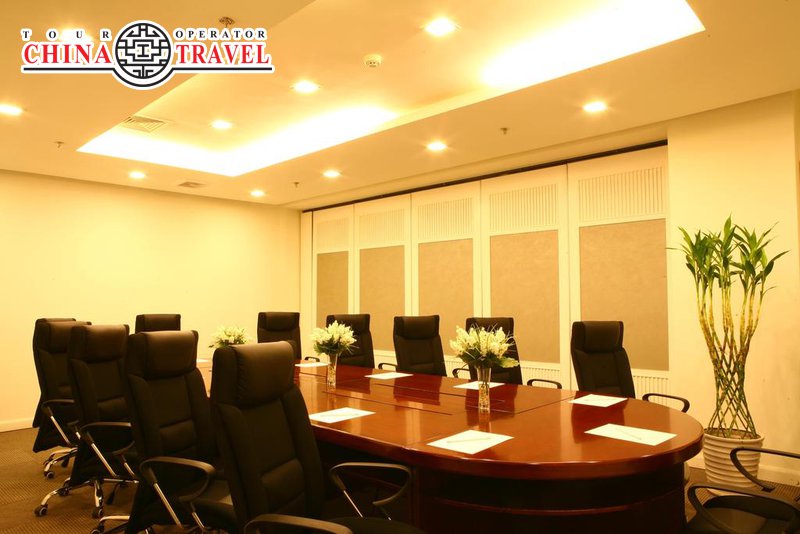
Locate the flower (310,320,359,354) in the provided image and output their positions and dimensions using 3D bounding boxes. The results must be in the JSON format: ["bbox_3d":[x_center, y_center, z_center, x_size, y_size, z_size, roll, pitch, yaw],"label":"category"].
[{"bbox_3d":[-0.695,0.683,5.645,0.387,0.373,0.389,-1,-3,42],"label":"flower"}]

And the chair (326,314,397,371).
[{"bbox_3d":[-0.594,0.954,7.161,0.658,0.994,0.812,0,-3,-33],"label":"chair"}]

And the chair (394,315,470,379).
[{"bbox_3d":[0.260,0.965,6.876,0.598,0.892,0.741,1,-6,-29],"label":"chair"}]

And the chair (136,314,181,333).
[{"bbox_3d":[-2.998,0.682,6.855,0.488,0.175,0.187,2,-5,-32],"label":"chair"}]

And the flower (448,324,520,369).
[{"bbox_3d":[0.705,0.781,4.698,0.457,0.283,0.364,3,-14,-21],"label":"flower"}]
